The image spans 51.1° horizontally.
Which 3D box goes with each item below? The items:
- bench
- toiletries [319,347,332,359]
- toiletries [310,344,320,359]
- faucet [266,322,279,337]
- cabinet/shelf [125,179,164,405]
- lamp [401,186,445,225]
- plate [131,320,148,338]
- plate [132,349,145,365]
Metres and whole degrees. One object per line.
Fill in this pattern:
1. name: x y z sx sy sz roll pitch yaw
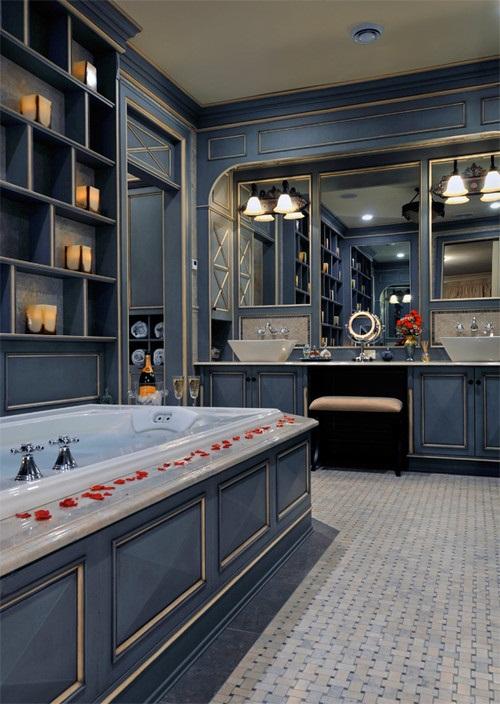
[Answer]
1. bench: 0.740 0.545 3.684 0.605 0.583 0.362 1 8 22
2. toiletries: 0.597 0.012 4.104 0.079 0.124 0.083 -5 9 -10
3. toiletries: 0.523 -0.007 4.180 0.091 0.142 0.096 -4 6 -14
4. faucet: 0.183 -0.196 4.565 0.082 0.129 0.056 -3 6 26
5. cabinet/shelf: -0.955 -0.425 4.997 0.411 2.347 0.268 4 17 4
6. lamp: 1.311 -1.087 3.954 0.236 0.238 0.257 1 9 9
7. plate: -1.038 -0.201 4.880 0.135 0.168 0.116 -6 -2 24
8. plate: -1.044 0.055 4.854 0.135 0.158 0.048 5 -2 15
